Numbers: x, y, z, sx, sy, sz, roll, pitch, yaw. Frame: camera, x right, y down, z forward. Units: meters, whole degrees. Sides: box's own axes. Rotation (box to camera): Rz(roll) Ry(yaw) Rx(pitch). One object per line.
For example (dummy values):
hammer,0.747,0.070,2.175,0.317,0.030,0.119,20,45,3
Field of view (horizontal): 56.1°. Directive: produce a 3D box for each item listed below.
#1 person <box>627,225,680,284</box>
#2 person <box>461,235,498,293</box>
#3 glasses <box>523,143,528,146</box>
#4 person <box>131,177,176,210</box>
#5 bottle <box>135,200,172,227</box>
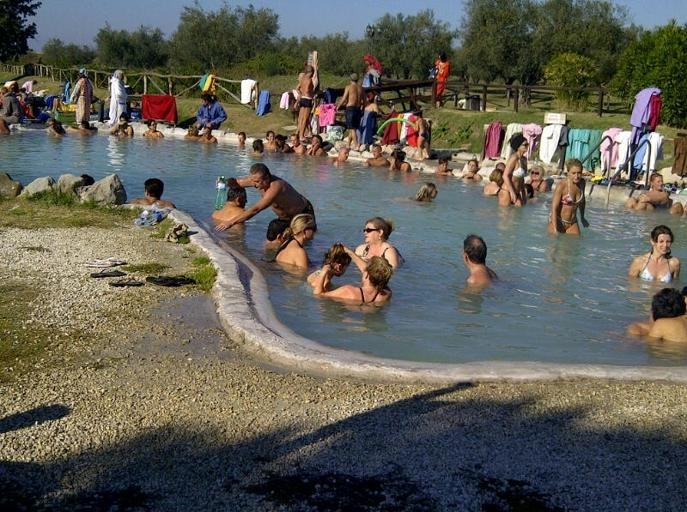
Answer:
person,4.534,-0.035,9.303,0.669,0.829,0.597,8,8,24
person,1.956,0.063,9.084,0.500,0.720,0.794,6,8,14
glasses,3.990,-2.449,14.016,0.033,0.075,0.312,8,9,25
person,-3.724,-1.221,12.584,0.937,0.638,0.453,0,30,-10
bottle,-3.058,-0.672,10.390,0.458,0.118,0.454,-8,28,4
